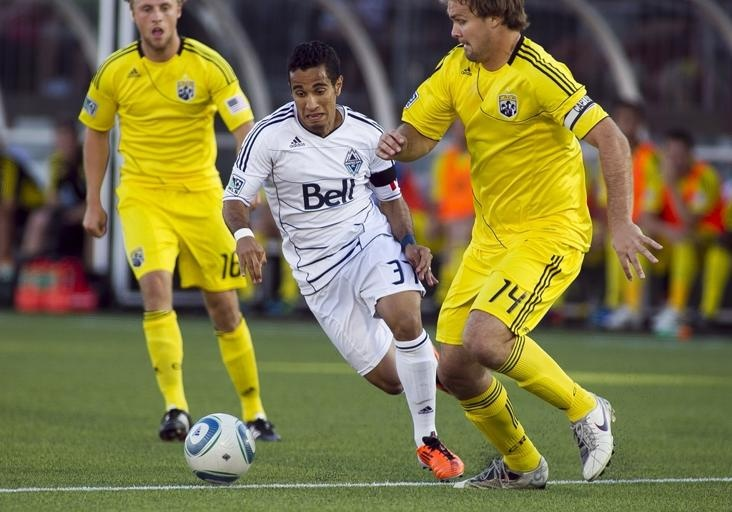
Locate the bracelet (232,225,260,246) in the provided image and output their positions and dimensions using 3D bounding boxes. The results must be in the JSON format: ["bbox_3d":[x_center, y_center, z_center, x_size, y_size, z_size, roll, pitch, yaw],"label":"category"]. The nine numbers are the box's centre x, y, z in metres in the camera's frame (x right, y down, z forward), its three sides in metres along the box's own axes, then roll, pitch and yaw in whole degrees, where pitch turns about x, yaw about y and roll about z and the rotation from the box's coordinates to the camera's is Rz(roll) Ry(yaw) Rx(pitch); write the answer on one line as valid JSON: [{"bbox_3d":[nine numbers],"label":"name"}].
[{"bbox_3d":[-0.799,-0.134,6.440,0.104,0.086,0.100,-2,-5,-41],"label":"bracelet"}]

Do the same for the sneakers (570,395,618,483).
[{"bbox_3d":[1.430,1.166,6.150,0.277,0.611,0.197,22,-33,-23],"label":"sneakers"}]

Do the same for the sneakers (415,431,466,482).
[{"bbox_3d":[0.467,1.288,6.354,0.188,0.279,0.497,-9,10,-25],"label":"sneakers"}]

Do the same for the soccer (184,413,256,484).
[{"bbox_3d":[-0.914,1.225,6.269,0.379,0.404,0.386,-21,-28,37],"label":"soccer"}]

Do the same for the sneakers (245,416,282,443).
[{"bbox_3d":[-0.778,1.281,7.245,0.317,0.148,0.115,4,2,43],"label":"sneakers"}]

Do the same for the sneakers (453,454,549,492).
[{"bbox_3d":[0.892,1.399,6.297,0.593,0.232,0.211,-8,4,31],"label":"sneakers"}]
